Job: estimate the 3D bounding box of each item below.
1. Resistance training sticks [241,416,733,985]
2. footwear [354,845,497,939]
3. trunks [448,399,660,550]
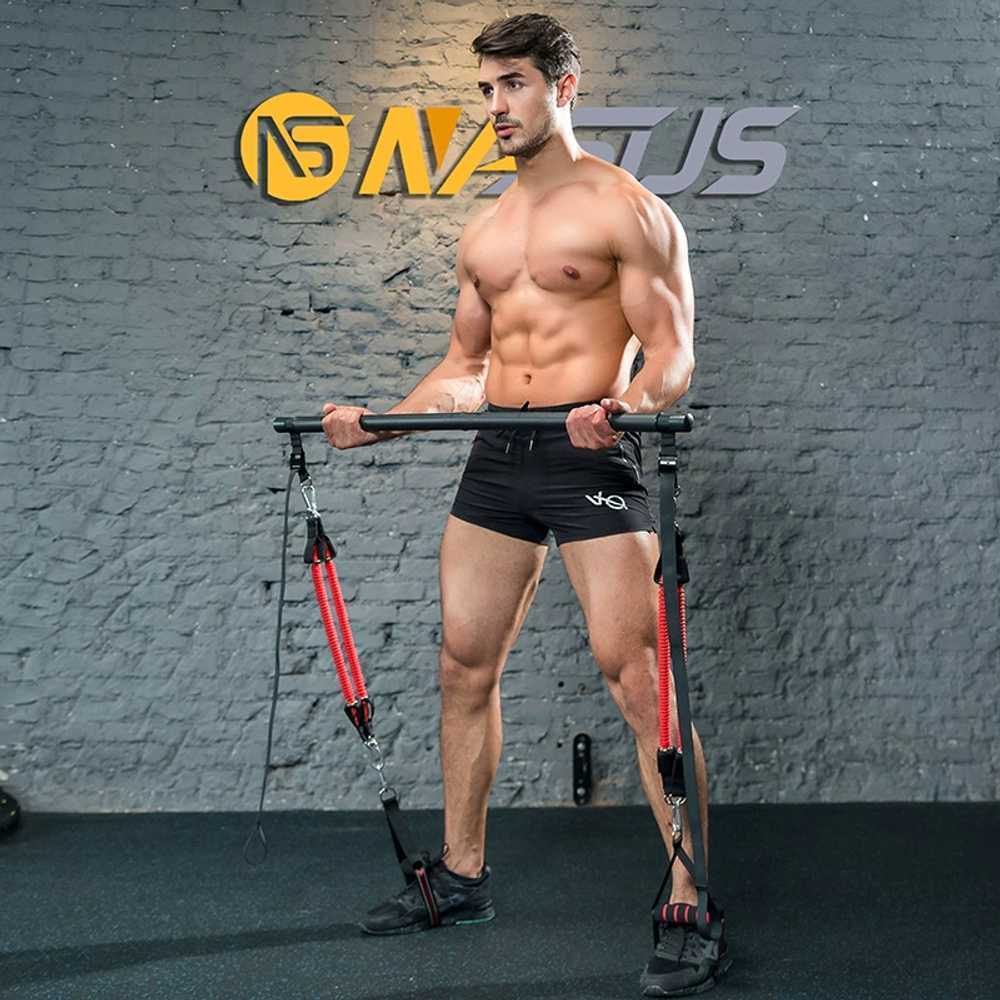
[{"bbox_3d":[0.006,0.384,2.730,0.958,1.166,0.673,0,8,5],"label":"Resistance training sticks"},{"bbox_3d":[-0.220,0.901,2.818,0.402,0.169,0.122,0,-8,-12],"label":"footwear"},{"bbox_3d":[0.151,-0.024,2.780,0.601,0.280,0.270,1,-3,24],"label":"trunks"}]
